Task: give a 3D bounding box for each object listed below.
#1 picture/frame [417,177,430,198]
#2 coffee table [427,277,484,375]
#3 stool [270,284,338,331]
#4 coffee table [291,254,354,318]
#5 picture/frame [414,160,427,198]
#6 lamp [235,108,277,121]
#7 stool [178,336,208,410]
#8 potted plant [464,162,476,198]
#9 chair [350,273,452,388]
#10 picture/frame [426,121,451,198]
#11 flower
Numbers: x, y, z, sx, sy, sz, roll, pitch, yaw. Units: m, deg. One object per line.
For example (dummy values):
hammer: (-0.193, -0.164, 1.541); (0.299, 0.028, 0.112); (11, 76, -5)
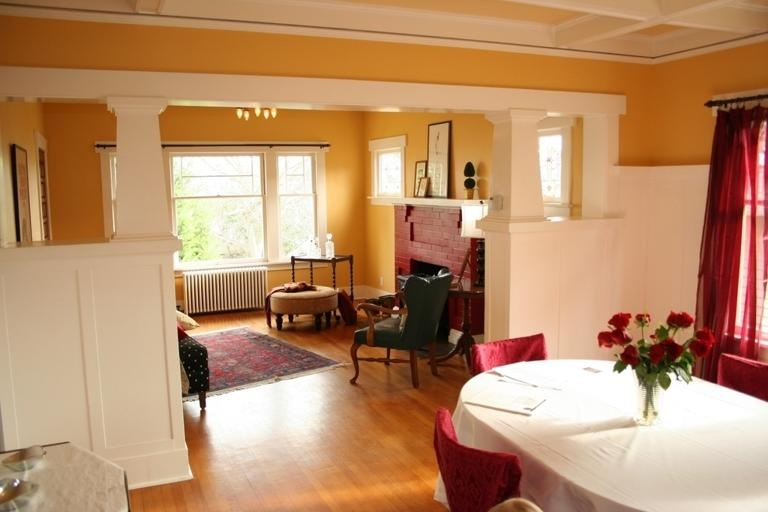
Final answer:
picture/frame: (0.556, -0.965, 7.513); (0.022, 0.301, 0.299); (5, -5, -23)
coffee table: (0.965, 0.810, 6.173); (0.715, 0.787, 0.742); (3, -5, -2)
stool: (-1.139, 0.698, 7.535); (0.704, 0.398, 0.700); (0, 4, -5)
coffee table: (-1.040, 0.519, 8.755); (1.037, 1.049, 0.773); (3, 7, 31)
picture/frame: (0.521, -1.095, 7.581); (0.049, 0.655, 0.545); (0, 2, -19)
lamp: (-1.923, -2.133, 7.922); (0.654, 0.194, 1.310); (-4, 12, -11)
stool: (-1.844, 1.139, 5.170); (0.235, 0.704, 0.335); (-6, 12, -22)
potted plant: (1.056, -0.934, 6.591); (0.151, 0.457, 0.307); (0, 12, 9)
chair: (0.204, 0.753, 5.827); (1.030, 1.186, 0.911); (2, 6, 40)
picture/frame: (0.749, -1.301, 7.218); (0.130, 0.992, 0.488); (-6, 12, -21)
flower: (1.598, 0.697, 3.182); (0.625, 0.652, 0.595); (1, 6, 5)
